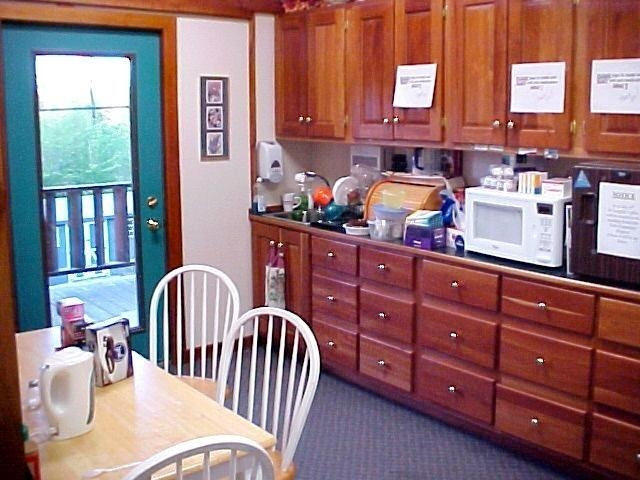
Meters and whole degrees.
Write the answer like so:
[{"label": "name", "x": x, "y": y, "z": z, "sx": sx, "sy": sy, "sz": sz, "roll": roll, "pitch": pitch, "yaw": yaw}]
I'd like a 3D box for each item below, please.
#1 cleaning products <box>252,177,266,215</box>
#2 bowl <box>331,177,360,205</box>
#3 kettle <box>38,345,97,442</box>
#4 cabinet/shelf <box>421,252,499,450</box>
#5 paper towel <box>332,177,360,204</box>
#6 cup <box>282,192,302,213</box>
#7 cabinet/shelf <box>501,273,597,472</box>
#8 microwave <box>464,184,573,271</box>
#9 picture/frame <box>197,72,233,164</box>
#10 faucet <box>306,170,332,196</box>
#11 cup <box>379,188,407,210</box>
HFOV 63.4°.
[{"label": "cleaning products", "x": -0.455, "y": -0.347, "z": 4.009, "sx": 0.073, "sy": 0.270, "sz": 0.142, "roll": 10, "pitch": 19, "yaw": 37}, {"label": "bowl", "x": 0.179, "y": -0.355, "z": 3.596, "sx": 0.041, "sy": 0.185, "sz": 0.183, "roll": 24, "pitch": -12, "yaw": 43}, {"label": "kettle", "x": -0.781, "y": 0.483, "z": 1.593, "sx": 0.112, "sy": 0.243, "sz": 0.169, "roll": 3, "pitch": 3, "yaw": 30}, {"label": "cabinet/shelf", "x": 0.878, "y": 0.543, "z": 3.014, "sx": 0.438, "sy": 0.897, "sz": 0.495, "roll": -12, "pitch": 16, "yaw": -42}, {"label": "paper towel", "x": 0.184, "y": -0.349, "z": 3.589, "sx": 0.041, "sy": 0.183, "sz": 0.180, "roll": 25, "pitch": -9, "yaw": 44}, {"label": "cup", "x": -0.232, "y": -0.310, "z": 4.090, "sx": 0.176, "sy": 0.161, "sz": 0.116, "roll": -1, "pitch": 2, "yaw": -39}, {"label": "cabinet/shelf", "x": 1.218, "y": 0.616, "z": 2.705, "sx": 0.440, "sy": 0.892, "sz": 0.488, "roll": -13, "pitch": 16, "yaw": -39}, {"label": "microwave", "x": 1.053, "y": -0.086, "z": 2.779, "sx": 0.286, "sy": 0.349, "sz": 0.511, "roll": -15, "pitch": 18, "yaw": -42}, {"label": "picture/frame", "x": -0.766, "y": -0.884, "z": 3.766, "sx": 0.258, "sy": 0.591, "sz": 0.095, "roll": -8, "pitch": 16, "yaw": -25}, {"label": "faucet", "x": -0.017, "y": -0.453, "z": 4.102, "sx": 0.227, "sy": 0.184, "sz": 0.165, "roll": 2, "pitch": 2, "yaw": 0}, {"label": "cup", "x": 0.455, "y": -0.255, "z": 3.255, "sx": 0.113, "sy": 0.091, "sz": 0.121, "roll": 2, "pitch": 9, "yaw": 0}]
